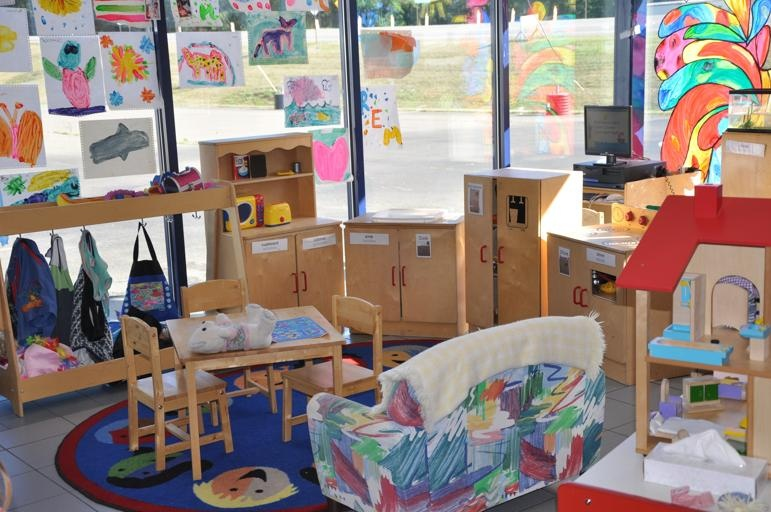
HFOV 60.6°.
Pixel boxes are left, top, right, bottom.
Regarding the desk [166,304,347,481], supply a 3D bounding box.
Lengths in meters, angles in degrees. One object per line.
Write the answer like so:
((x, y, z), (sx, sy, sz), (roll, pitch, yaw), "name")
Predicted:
((-1.001, 0.827, 5.033), (1.352, 1.073, 1.209), (-5, 8, -27), "desk")

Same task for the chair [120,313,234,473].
((-1.585, 0.994, 4.987), (0.707, 1.040, 0.715), (4, 6, 37), "chair")

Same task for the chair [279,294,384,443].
((-0.401, 0.900, 5.026), (0.758, 1.040, 0.748), (-6, 10, -14), "chair")

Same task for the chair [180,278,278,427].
((-1.322, 0.816, 5.466), (0.667, 1.100, 0.716), (-4, 17, -23), "chair")

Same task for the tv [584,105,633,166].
((2.257, -1.259, 6.954), (0.650, 0.599, 0.239), (-4, 4, -25), "tv")

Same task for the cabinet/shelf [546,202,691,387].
((2.139, 0.296, 6.082), (0.815, 1.392, 1.078), (-9, 13, -15), "cabinet/shelf")

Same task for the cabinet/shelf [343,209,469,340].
((0.303, 0.210, 7.205), (1.293, 1.212, 0.783), (2, 10, 29), "cabinet/shelf")

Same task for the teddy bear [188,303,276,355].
((-1.086, 0.510, 4.653), (0.535, 0.222, 0.330), (-2, 0, -10), "teddy bear")
